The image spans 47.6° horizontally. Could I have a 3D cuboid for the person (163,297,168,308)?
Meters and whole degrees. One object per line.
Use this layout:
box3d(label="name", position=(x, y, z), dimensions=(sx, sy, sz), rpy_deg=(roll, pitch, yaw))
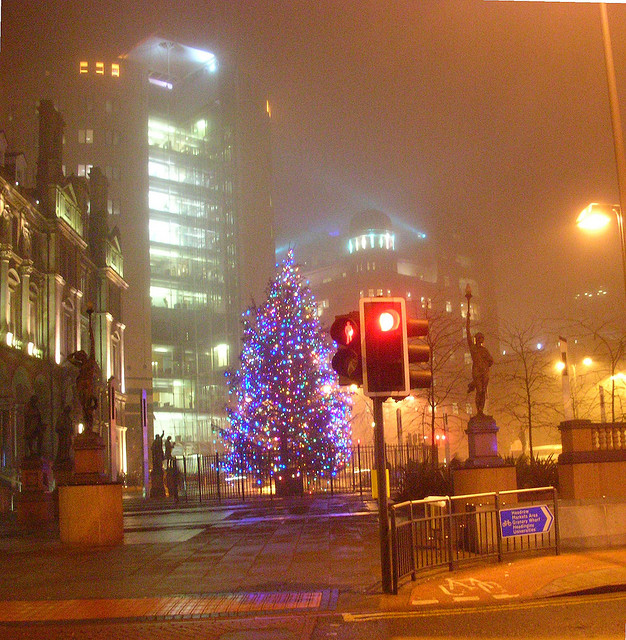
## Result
box3d(label="person", position=(-19.859, -2.491, 96.112), dimensions=(0.590, 1.522, 0.893), rpy_deg=(3, -11, -28))

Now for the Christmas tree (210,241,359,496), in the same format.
box3d(label="Christmas tree", position=(-1.248, 2.065, 34.668), dimensions=(5.994, 12.608, 2.339), rpy_deg=(-6, -10, 18))

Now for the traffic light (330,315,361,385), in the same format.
box3d(label="traffic light", position=(0.455, 0.373, 9.706), dimensions=(0.390, 1.006, 0.591), rpy_deg=(-2, -10, -1))

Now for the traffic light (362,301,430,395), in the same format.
box3d(label="traffic light", position=(1.133, 0.348, 9.721), dimensions=(0.885, 1.294, 0.611), rpy_deg=(-5, -10, 10))

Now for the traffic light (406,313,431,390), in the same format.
box3d(label="traffic light", position=(1.378, 0.509, 9.820), dimensions=(0.452, 1.123, 0.294), rpy_deg=(-3, -18, 7))

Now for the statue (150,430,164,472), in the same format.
box3d(label="statue", position=(-9.252, 7.920, 42.307), dimensions=(0.616, 2.231, 1.710), rpy_deg=(0, -11, -13))

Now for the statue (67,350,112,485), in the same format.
box3d(label="statue", position=(-5.923, 2.410, 18.683), dimensions=(0.912, 3.813, 3.550), rpy_deg=(1, -12, -19))
